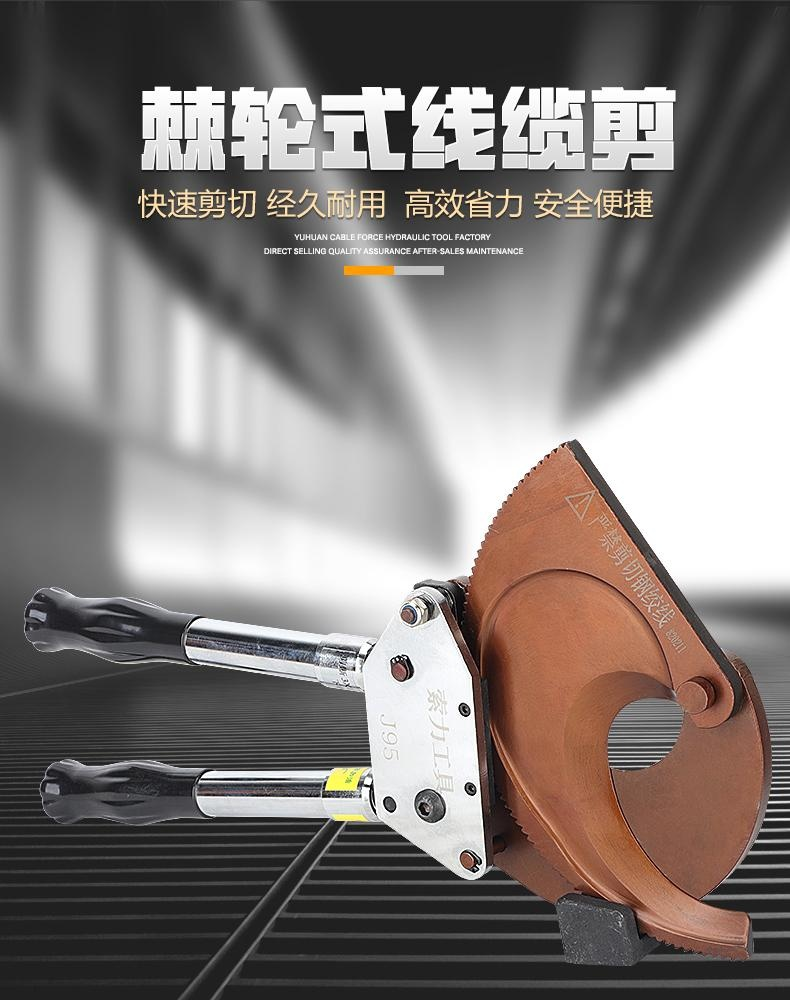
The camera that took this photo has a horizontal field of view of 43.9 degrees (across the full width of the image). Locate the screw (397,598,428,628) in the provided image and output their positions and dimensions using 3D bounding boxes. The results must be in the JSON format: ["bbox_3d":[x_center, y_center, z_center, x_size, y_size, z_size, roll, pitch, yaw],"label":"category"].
[{"bbox_3d":[0.022,0.113,0.987,0.024,0.025,0.027,33,61,29],"label":"screw"}]
